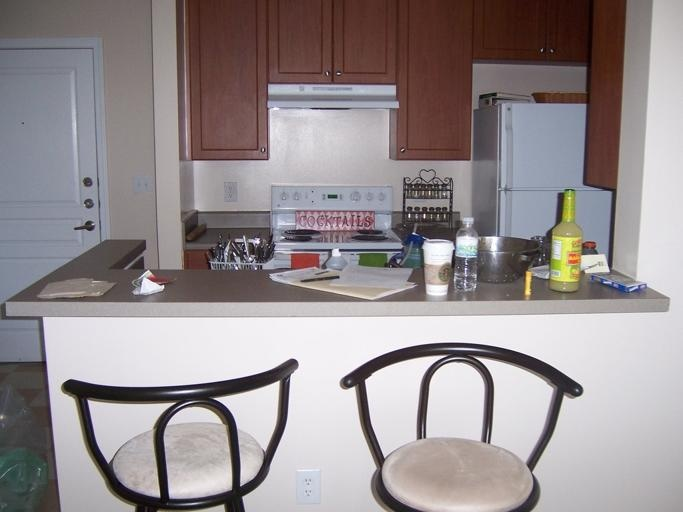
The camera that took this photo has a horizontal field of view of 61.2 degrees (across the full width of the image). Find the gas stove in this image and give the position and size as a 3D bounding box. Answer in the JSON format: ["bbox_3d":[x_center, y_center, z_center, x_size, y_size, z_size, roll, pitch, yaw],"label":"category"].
[{"bbox_3d":[-0.072,-0.270,4.042,0.927,0.462,0.668,-2,9,-1],"label":"gas stove"}]

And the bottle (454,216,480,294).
[{"bbox_3d":[0.469,-0.013,2.176,0.095,0.259,0.205,1,9,12],"label":"bottle"}]

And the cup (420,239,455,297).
[{"bbox_3d":[0.347,0.035,2.086,0.096,0.201,0.144,0,9,10],"label":"cup"}]

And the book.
[{"bbox_3d":[0.010,0.090,2.255,0.560,0.055,0.393,2,10,22],"label":"book"}]

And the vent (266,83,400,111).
[{"bbox_3d":[-0.059,-1.096,3.954,0.900,0.173,0.110,-2,9,-2],"label":"vent"}]

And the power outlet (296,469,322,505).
[{"bbox_3d":[-0.129,0.855,2.166,0.122,0.173,0.018,0,2,-6],"label":"power outlet"}]

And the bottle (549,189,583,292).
[{"bbox_3d":[0.818,-0.059,2.104,0.105,0.366,0.159,2,9,21],"label":"bottle"}]

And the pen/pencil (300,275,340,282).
[{"bbox_3d":[-0.091,0.087,2.238,0.155,0.020,0.022,-1,0,-1],"label":"pen/pencil"}]
